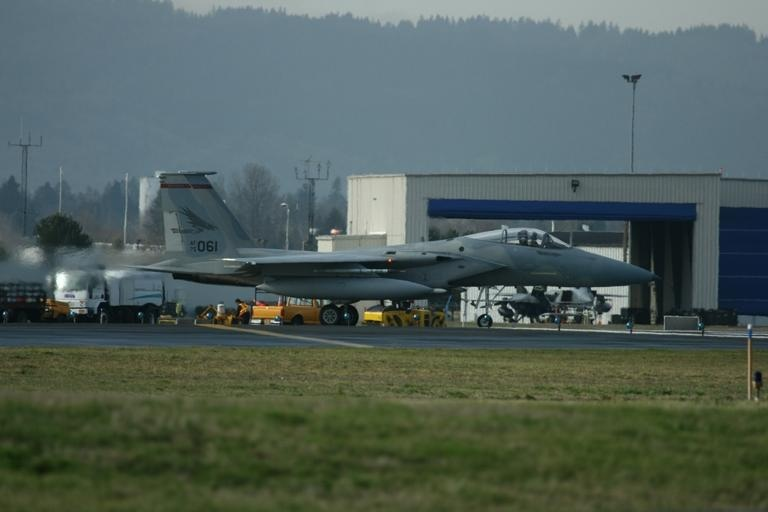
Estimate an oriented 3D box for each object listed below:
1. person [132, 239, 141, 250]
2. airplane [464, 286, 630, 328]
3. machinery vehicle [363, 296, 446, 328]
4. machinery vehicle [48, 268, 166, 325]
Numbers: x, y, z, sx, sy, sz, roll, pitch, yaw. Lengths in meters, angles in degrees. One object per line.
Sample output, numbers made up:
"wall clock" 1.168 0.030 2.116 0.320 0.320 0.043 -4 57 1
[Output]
"person" -15.694 -0.760 113.636 0.417 0.569 1.716 8 6 -11
"airplane" 9.186 4.241 112.120 4.693 1.991 4.395 -2 0 29
"machinery vehicle" 0.857 3.334 102.265 3.959 1.519 2.176 2 -9 -5
"machinery vehicle" -15.799 2.227 105.382 6.361 2.886 2.822 0 -1 -3
